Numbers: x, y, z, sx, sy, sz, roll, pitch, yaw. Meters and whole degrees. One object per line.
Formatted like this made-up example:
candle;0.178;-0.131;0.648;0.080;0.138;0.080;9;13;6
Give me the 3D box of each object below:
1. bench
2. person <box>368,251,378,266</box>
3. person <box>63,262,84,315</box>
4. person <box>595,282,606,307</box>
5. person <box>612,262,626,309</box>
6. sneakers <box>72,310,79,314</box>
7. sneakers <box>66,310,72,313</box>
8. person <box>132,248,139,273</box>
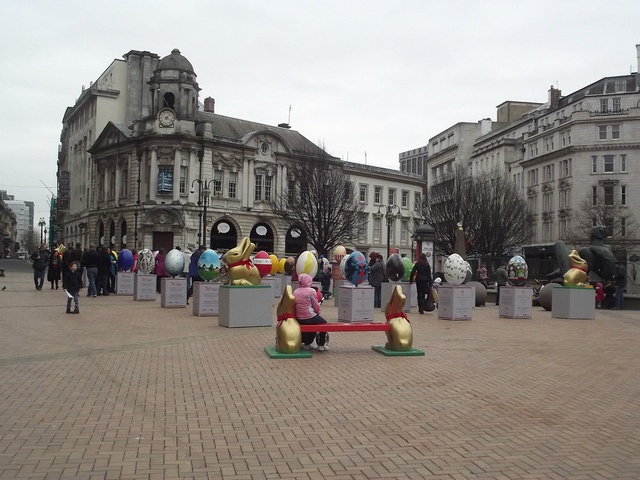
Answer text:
bench;0.445;1.721;12.184;3.058;1.502;1.292;0;0;-10
person;2.130;0.785;23.188;0.384;0.868;0.493;2;0;-3
person;-8.071;1.533;18.915;0.455;1.704;3.228;0;0;-23
person;12.375;2.487;25.524;0.333;1.210;1.467;0;0;26
person;12.802;2.024;24.734;0.382;2.054;1.295;0;0;28
sneakers;-7.656;2.275;18.153;0.183;0.143;0.275;0;0;-27
sneakers;-7.949;2.300;18.288;0.189;0.163;0.080;-6;-6;33
person;-9.216;1.092;28.685;0.254;1.009;2.043;0;0;-19
